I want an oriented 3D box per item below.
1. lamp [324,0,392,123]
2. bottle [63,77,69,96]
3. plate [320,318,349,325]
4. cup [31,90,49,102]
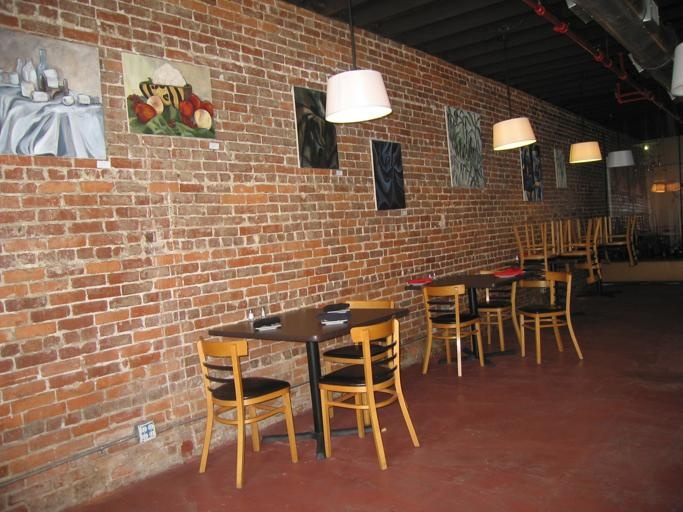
[{"bbox_3d":[0.110,-1.845,4.740,0.546,1.280,1.322,-5,7,3],"label":"lamp"},{"bbox_3d":[-2.141,-1.301,4.022,0.042,0.119,0.012,-10,10,-30],"label":"bottle"},{"bbox_3d":[-0.081,0.568,4.444,0.251,0.035,0.123,-2,7,20],"label":"plate"},{"bbox_3d":[-2.279,-1.196,3.917,0.150,0.084,0.080,-4,36,-25],"label":"cup"}]
